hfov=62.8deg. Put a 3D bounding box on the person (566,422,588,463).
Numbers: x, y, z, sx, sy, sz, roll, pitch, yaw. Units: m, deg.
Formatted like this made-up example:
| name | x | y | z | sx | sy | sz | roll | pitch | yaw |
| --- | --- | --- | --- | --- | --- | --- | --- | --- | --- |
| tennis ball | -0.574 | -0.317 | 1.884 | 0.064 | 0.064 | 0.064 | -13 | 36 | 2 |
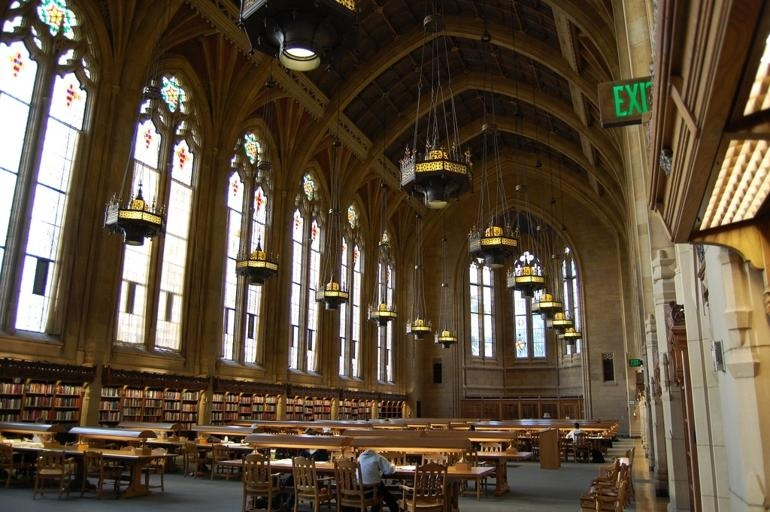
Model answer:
| name | x | y | z | sx | sy | sz | roll | pitch | yaw |
| --- | --- | --- | --- | --- | --- | --- | --- | --- | --- |
| person | 6.732 | 6.568 | 21.851 | 0.885 | 1.270 | 0.816 | 28 | -31 | -36 |
